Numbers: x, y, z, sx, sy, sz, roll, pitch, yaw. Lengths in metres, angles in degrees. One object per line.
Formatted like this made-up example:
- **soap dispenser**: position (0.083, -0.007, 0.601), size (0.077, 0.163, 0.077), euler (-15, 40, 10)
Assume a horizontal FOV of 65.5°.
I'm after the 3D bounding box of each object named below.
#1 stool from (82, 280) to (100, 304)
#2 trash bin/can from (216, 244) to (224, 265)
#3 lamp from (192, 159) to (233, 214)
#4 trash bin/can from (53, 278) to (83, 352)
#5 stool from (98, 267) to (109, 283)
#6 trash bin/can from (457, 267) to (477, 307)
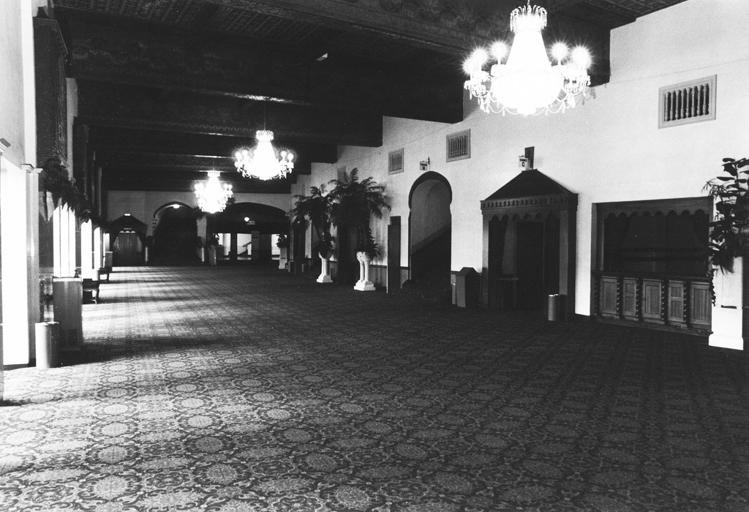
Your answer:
- **stool**: position (-7.198, 0.928, 14.757), size (0.383, 0.588, 0.573), euler (-1, 4, -15)
- **trash bin/can**: position (-8.949, -0.202, 33.863), size (0.375, 1.008, 1.390), euler (-2, 10, -11)
- **lamp**: position (-6.526, -2.891, 23.528), size (1.806, 2.631, 1.918), euler (0, 0, 9)
- **trash bin/can**: position (-4.850, 0.905, 9.229), size (0.420, 1.046, 0.578), euler (-5, 11, -29)
- **stool**: position (-9.838, 0.703, 21.095), size (0.456, 0.649, 0.523), euler (1, -1, -9)
- **trash bin/can**: position (2.234, 0.736, 13.805), size (0.563, 0.862, 0.498), euler (1, 9, 8)
